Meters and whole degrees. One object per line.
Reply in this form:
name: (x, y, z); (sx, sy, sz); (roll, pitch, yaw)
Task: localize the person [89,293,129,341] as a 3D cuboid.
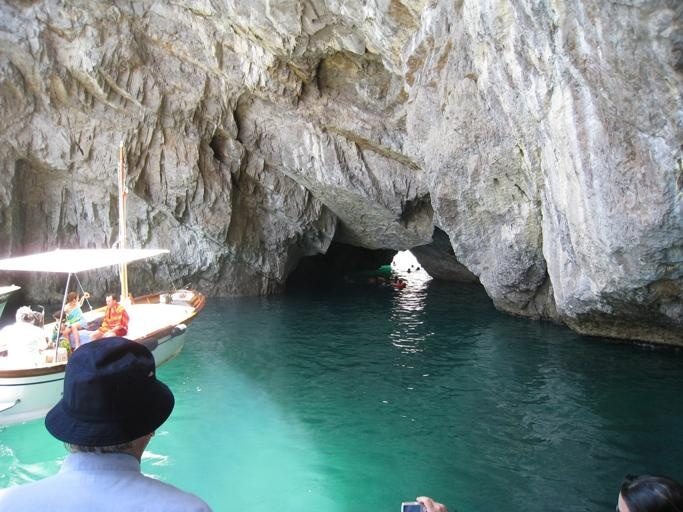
person: (-5.322, 1.418, 12.776); (0.643, 0.965, 0.782); (3, 10, 24)

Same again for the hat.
hat: (-1.894, 1.132, 4.800); (0.884, 0.595, 0.970); (14, 18, 27)
